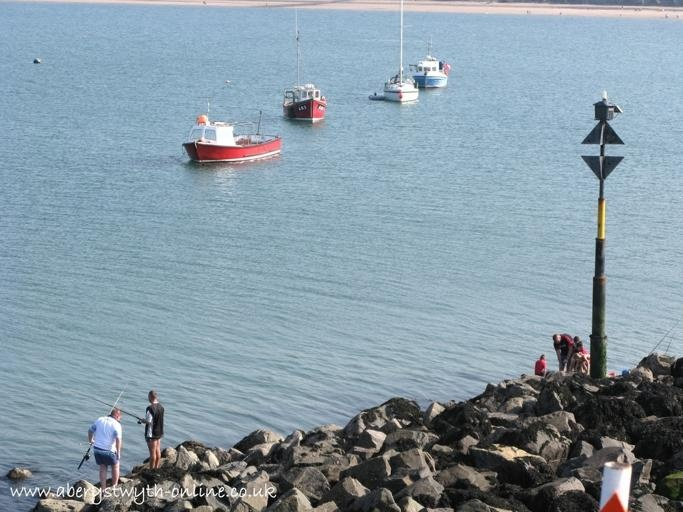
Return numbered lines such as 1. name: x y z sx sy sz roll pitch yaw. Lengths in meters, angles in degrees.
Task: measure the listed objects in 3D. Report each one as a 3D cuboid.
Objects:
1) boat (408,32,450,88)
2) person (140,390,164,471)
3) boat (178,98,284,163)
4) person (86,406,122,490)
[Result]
1. boat: 8.998 -20.668 117.673 4.470 4.708 11.016 1 5 7
2. person: -5.216 4.702 28.453 0.922 1.918 0.699 -5 13 -24
3. boat: -6.264 -8.827 72.740 4.225 3.791 11.652 14 22 33
4. person: -6.224 5.095 27.685 1.062 1.978 0.906 -6 12 -35
